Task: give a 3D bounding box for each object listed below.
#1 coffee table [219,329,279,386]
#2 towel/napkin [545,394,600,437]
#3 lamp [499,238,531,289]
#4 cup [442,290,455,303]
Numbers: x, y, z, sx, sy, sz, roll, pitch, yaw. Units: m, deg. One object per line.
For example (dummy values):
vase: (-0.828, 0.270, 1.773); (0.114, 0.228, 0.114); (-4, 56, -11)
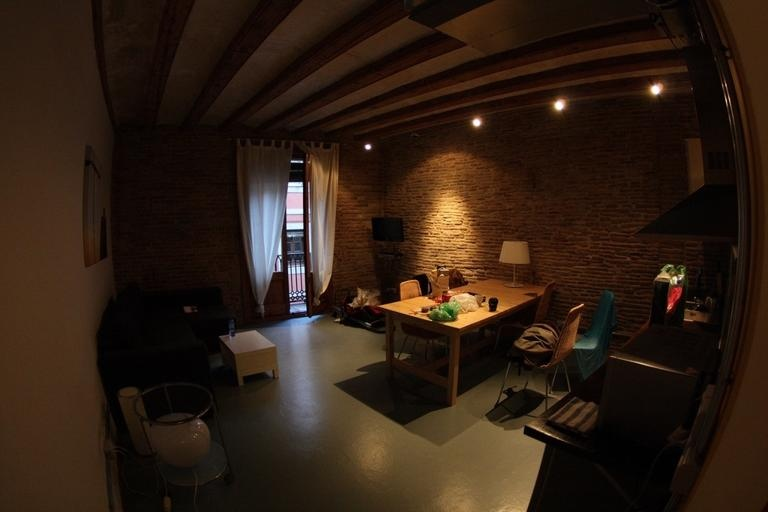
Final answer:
coffee table: (-1.477, 1.068, 5.522); (0.434, 0.339, 0.776); (-8, 10, -27)
towel/napkin: (1.049, 0.854, 2.787); (0.143, 0.033, 0.251); (4, 12, 36)
lamp: (1.497, 0.068, 5.958); (0.386, 0.539, 0.366); (-4, -8, 14)
cup: (0.634, 0.405, 5.108); (0.096, 0.102, 0.108); (-1, 3, -2)
